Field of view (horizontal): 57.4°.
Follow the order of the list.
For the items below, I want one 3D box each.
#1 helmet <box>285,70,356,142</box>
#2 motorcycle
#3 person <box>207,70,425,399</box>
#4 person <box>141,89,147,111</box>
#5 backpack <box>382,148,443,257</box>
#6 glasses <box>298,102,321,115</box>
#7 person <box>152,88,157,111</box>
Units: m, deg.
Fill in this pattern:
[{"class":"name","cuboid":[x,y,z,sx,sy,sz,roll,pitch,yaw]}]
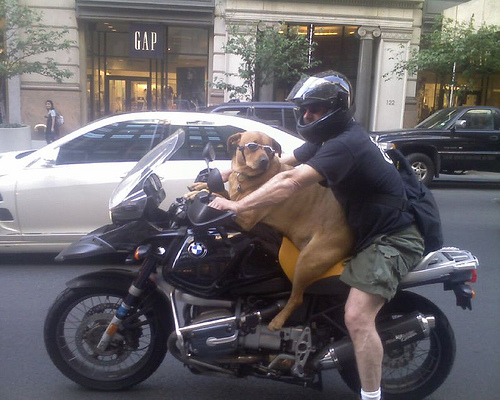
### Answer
[{"class":"helmet","cuboid":[0.459,-0.617,2.877,0.448,0.372,0.335,-34,26,-26]},{"class":"motorcycle","cuboid":[-0.061,0.456,3.589,3.085,2.055,1.473,2,2,5]},{"class":"person","cuboid":[0.576,0.247,2.796,0.951,2.038,0.748,5,12,20]},{"class":"person","cuboid":[-4.863,-4.687,21.038,0.256,0.930,0.234,-2,12,-14]},{"class":"backpack","cuboid":[1.067,0.004,2.894,0.176,0.593,0.578,-4,10,-20]},{"class":"glasses","cuboid":[0.365,-0.556,2.753,0.074,0.029,0.079,0,-3,30]},{"class":"person","cuboid":[-4.452,-4.721,21.083,0.326,0.887,0.198,-1,12,-9]}]
